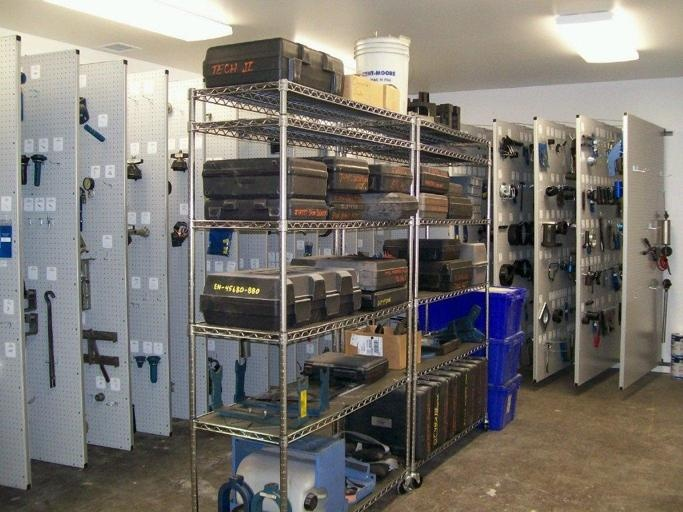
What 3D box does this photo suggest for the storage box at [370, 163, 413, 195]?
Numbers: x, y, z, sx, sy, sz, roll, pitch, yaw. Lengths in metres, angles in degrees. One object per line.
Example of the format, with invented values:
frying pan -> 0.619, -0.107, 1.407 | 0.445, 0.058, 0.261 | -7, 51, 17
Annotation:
storage box -> 0.353, -0.581, 4.980 | 0.220, 0.158, 0.318 | 2, 5, 26

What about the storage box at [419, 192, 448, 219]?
storage box -> 0.788, -0.420, 5.526 | 0.200, 0.144, 0.289 | 2, 5, 28

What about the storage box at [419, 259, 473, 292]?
storage box -> 0.886, 0.098, 5.716 | 0.276, 0.187, 0.374 | 2, 5, 35

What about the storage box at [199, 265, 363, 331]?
storage box -> -0.356, 0.264, 4.382 | 1.092, 0.366, 0.533 | -5, 10, -34

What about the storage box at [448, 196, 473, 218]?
storage box -> 1.089, -0.450, 5.975 | 0.192, 0.185, 0.274 | 1, 4, 36

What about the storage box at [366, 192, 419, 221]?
storage box -> 0.395, -0.384, 4.975 | 0.249, 0.122, 0.251 | 7, 9, 44

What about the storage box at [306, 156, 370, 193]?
storage box -> 0.044, -0.565, 4.614 | 0.265, 0.190, 0.370 | -4, 7, -34

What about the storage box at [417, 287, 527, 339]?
storage box -> 1.315, 0.541, 6.579 | 0.790, 0.355, 0.578 | -2, -1, 34

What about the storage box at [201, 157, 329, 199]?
storage box -> -0.481, -0.514, 4.248 | 0.370, 0.177, 0.481 | 3, 6, 30
